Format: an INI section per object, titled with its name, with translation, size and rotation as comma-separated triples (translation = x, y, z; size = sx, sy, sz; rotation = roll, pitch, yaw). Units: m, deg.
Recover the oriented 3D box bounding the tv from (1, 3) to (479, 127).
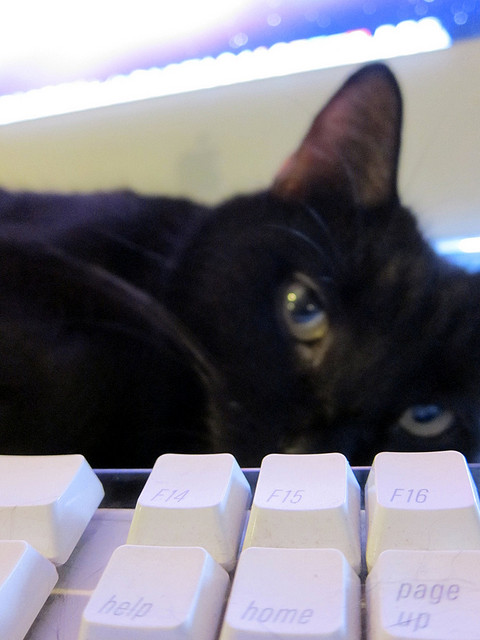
[tv]
translation = -0.027, -0.297, 0.677
size = 0.540, 0.131, 0.030
rotation = 0, 35, 12
